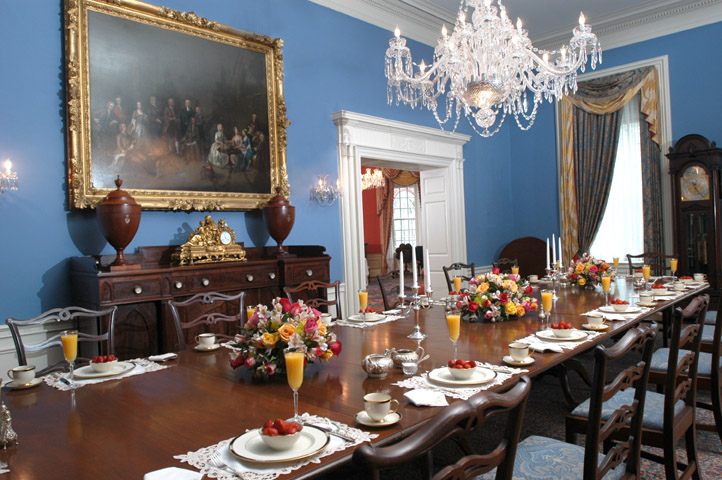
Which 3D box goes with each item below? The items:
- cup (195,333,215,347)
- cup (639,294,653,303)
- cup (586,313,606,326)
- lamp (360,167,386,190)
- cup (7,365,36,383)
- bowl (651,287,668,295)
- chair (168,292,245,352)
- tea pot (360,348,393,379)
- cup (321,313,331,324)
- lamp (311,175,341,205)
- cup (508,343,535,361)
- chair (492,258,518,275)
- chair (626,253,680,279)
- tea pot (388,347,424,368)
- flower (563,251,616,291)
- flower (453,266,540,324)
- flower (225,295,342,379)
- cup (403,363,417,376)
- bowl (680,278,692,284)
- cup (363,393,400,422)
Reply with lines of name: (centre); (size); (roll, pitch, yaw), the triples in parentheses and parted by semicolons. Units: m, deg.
cup: (-1.133, 0.736, 3.798); (0.092, 0.079, 0.115); (-8, -15, 31)
cup: (2.491, 0.525, 4.541); (0.090, 0.071, 0.072); (7, -10, -29)
cup: (1.741, 0.594, 3.883); (0.095, 0.081, 0.117); (-4, -11, 34)
lamp: (0.284, -1.448, 12.602); (0.852, 0.453, 0.887); (3, 6, 10)
cup: (-2.126, 0.832, 3.270); (0.165, 0.114, 0.139); (-3, 0, 16)
bowl: (2.864, 0.499, 4.978); (0.091, 0.048, 0.093); (-3, -1, 0)
chair: (-1.348, 0.700, 4.444); (0.483, 0.802, 0.510); (-2, -3, -35)
tea pot: (0.102, 0.765, 3.177); (0.134, 0.108, 0.152); (1, -6, -24)
cup: (-0.268, 0.617, 4.041); (0.089, 0.077, 0.099); (-2, 0, -25)
lamp: (-0.459, -0.609, 6.605); (0.330, 0.301, 0.340); (1, 2, 23)
cup: (1.025, 0.712, 3.278); (0.115, 0.082, 0.093); (7, -9, -33)
chair: (1.898, 0.358, 6.835); (0.222, 0.376, 0.234); (0, 5, -5)
chair: (3.885, 0.354, 6.870); (0.294, 0.499, 0.335); (-1, -4, -3)
tea pot: (0.276, 0.746, 3.336); (0.149, 0.094, 0.126); (-1, -3, 30)
flower: (2.447, 0.380, 5.567); (0.447, 0.425, 0.414); (-2, 8, -33)
flower: (1.173, 0.500, 4.420); (0.556, 0.380, 0.550); (5, 0, -20)
flower: (-0.459, 0.554, 3.287); (0.533, 0.398, 0.547); (0, -1, 33)
cup: (0.299, 0.791, 3.173); (0.068, 0.045, 0.070); (-2, -5, 0)
bowl: (3.469, 0.440, 5.556); (0.100, 0.057, 0.105); (-3, -2, 0)
cup: (0.095, 0.892, 2.746); (0.142, 0.132, 0.173); (-2, -1, 26)
